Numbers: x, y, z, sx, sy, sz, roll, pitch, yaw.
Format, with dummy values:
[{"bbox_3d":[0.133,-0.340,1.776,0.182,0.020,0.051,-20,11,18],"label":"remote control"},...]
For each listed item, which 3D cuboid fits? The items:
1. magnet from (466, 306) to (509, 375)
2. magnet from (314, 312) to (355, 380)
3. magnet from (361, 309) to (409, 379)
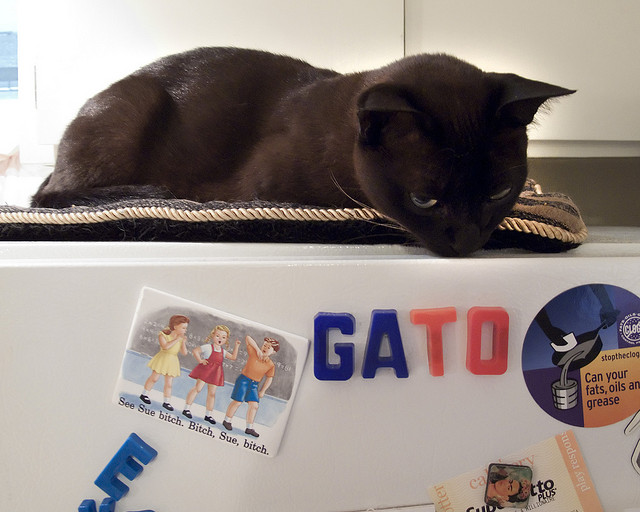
[{"bbox_3d":[0.275,0.139,1.059,0.060,0.110,0.034,0,-4,32],"label":"magnet"},{"bbox_3d":[0.021,0.147,1.048,0.064,0.104,0.014,0,-20,3],"label":"magnet"},{"bbox_3d":[0.100,0.137,1.044,0.094,0.141,0.043,0,-2,-1],"label":"magnet"}]
